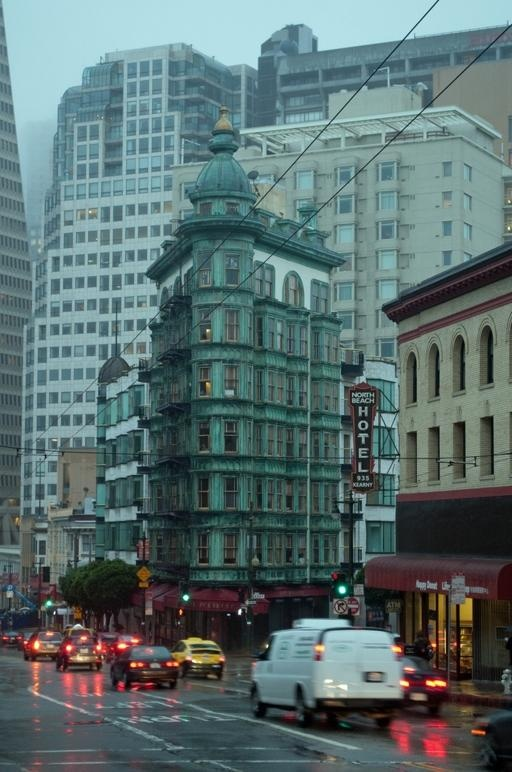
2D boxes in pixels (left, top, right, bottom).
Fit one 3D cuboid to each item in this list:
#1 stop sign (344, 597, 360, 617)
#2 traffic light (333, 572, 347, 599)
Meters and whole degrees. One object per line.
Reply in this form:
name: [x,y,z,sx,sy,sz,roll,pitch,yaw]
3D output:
stop sign: [3.062,7.037,54.325,0.451,0.577,0.192,1,-1,-4]
traffic light: [2.702,6.407,54.766,0.488,0.939,1.127,-1,-11,2]
